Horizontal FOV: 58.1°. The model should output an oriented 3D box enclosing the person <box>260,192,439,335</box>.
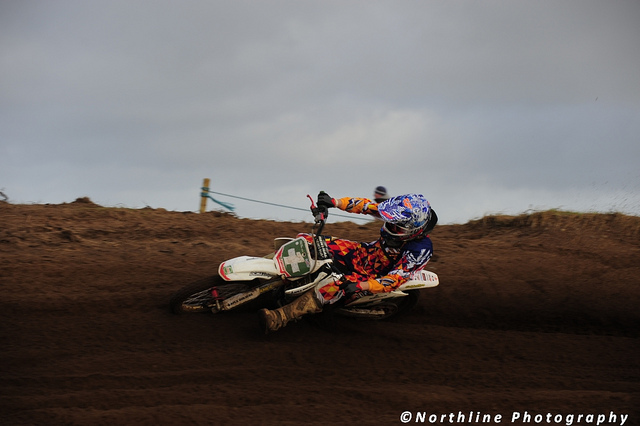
[{"bbox_3d":[0.640,0.719,8.616,1.773,2.031,1.020,3,-6,29],"label":"person"}]
